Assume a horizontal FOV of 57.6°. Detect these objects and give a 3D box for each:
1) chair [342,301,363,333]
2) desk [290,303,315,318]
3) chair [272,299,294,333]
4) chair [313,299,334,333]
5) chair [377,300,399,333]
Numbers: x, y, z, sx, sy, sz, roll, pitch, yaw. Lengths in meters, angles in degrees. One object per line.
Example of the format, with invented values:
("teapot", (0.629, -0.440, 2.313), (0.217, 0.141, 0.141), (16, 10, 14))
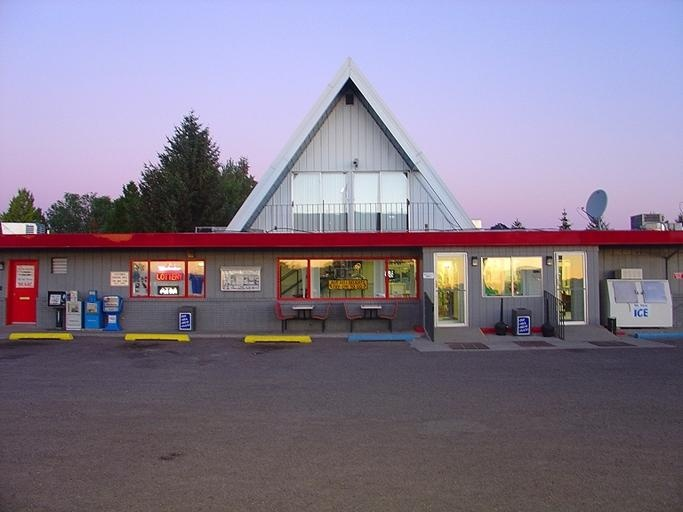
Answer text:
("chair", (0.352, 2.109, 21.763), (0.829, 1.377, 0.794), (-2, -1, 21))
("desk", (-1.328, 1.890, 21.602), (0.510, 0.397, 0.548), (0, -1, -6))
("chair", (-2.044, 2.137, 21.654), (0.807, 1.382, 0.780), (0, 4, 13))
("chair", (-0.622, 2.069, 21.889), (0.853, 1.326, 0.732), (4, -5, -31))
("chair", (1.594, 2.087, 21.523), (0.740, 0.985, 0.728), (1, 5, 6))
